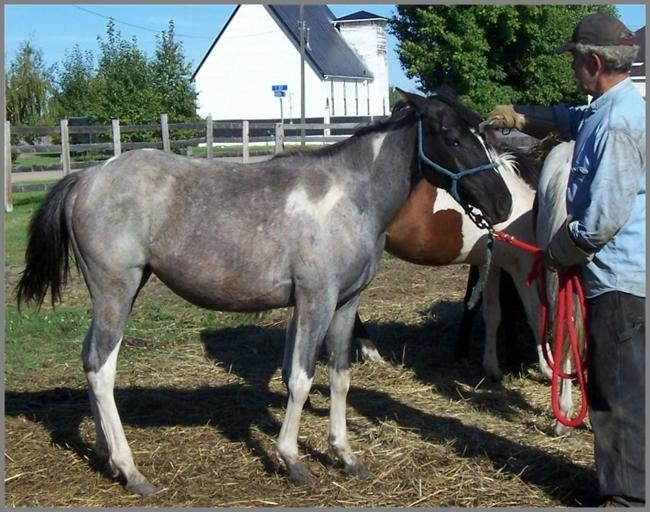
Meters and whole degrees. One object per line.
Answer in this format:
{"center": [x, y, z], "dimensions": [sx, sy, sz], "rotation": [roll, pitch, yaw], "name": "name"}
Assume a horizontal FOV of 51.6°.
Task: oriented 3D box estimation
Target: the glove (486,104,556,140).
{"center": [1.351, -0.916, 4.590], "dimensions": [0.402, 0.233, 0.164], "rotation": [9, -26, 18], "name": "glove"}

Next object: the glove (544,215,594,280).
{"center": [1.386, -0.029, 3.934], "dimensions": [0.254, 0.284, 0.256], "rotation": [-6, 46, 3], "name": "glove"}
